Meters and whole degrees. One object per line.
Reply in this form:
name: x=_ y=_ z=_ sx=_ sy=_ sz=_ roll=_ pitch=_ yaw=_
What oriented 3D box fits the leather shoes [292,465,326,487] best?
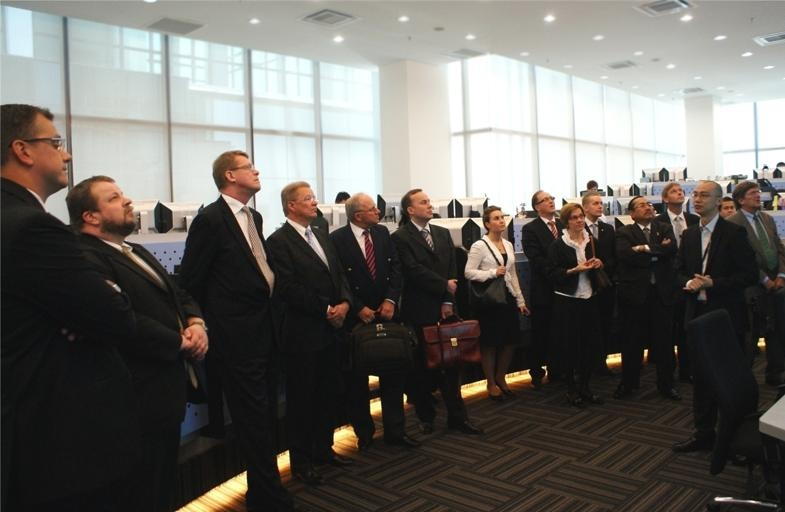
leather shoes: x=-0.559 y=1.474 z=3.944 sx=0.215 sy=0.085 sz=0.113 roll=2 pitch=2 yaw=37

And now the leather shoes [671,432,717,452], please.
leather shoes: x=2.180 y=1.342 z=4.270 sx=0.346 sy=0.136 sz=0.116 roll=-3 pitch=1 yaw=6

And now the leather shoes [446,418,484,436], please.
leather shoes: x=0.565 y=1.341 z=4.648 sx=0.307 sy=0.111 sz=0.107 roll=1 pitch=2 yaw=27

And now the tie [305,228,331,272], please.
tie: x=-0.535 y=-0.062 z=4.082 sx=0.129 sy=0.277 sz=0.196 roll=-9 pitch=13 yaw=-37

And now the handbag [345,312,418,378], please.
handbag: x=-0.107 y=0.575 z=4.305 sx=0.623 sy=0.319 sz=0.577 roll=1 pitch=46 yaw=-6

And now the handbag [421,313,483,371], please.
handbag: x=0.439 y=0.653 z=4.512 sx=0.496 sy=0.445 sz=0.203 roll=-4 pitch=-12 yaw=-17

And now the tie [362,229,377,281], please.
tie: x=-0.171 y=-0.020 z=4.409 sx=0.082 sy=0.351 sz=0.128 roll=-3 pitch=10 yaw=-10

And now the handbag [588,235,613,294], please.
handbag: x=1.858 y=0.053 z=5.204 sx=0.178 sy=0.494 sz=0.385 roll=7 pitch=8 yaw=43
